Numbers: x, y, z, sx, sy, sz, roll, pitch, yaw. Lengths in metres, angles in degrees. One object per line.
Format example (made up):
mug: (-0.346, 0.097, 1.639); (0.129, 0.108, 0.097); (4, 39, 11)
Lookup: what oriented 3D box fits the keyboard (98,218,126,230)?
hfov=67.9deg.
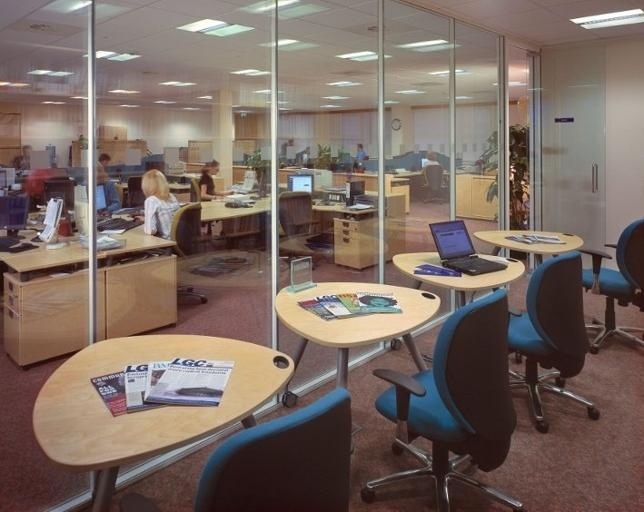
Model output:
keyboard: (-1.251, -0.177, 2.790); (0.017, 0.071, 0.165); (11, 19, 37)

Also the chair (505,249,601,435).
chair: (1.459, 0.524, 3.343); (0.814, 1.049, 0.824); (-2, 5, -14)

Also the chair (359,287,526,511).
chair: (0.658, 0.773, 2.407); (0.781, 1.230, 0.531); (7, 17, 25)

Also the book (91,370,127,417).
book: (-0.866, 0.559, 1.945); (0.107, 0.008, 0.225); (-8, 30, -31)

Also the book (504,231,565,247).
book: (2.062, -0.162, 4.614); (0.532, 0.020, 0.461); (1, 14, 4)

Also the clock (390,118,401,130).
clock: (0.699, -1.224, 4.503); (0.024, 0.114, 0.145); (12, 19, 39)

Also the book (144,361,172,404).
book: (-0.713, 0.538, 2.039); (0.087, 0.003, 0.229); (0, 17, -6)

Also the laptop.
laptop: (1.173, -0.067, 3.763); (0.487, 0.305, 0.520); (-7, 19, -26)
